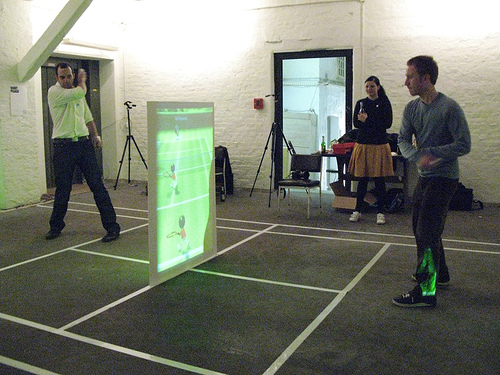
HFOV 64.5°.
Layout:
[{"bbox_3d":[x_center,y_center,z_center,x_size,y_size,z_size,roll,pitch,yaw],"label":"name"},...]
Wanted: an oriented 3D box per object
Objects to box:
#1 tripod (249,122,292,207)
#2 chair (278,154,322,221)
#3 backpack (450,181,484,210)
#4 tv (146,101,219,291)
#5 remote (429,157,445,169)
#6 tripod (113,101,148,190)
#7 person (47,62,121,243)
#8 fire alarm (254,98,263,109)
[{"bbox_3d":[0.412,-0.550,7.872,0.711,1.476,1.222,-3,10,-16],"label":"tripod"},{"bbox_3d":[0.838,-0.029,6.582,0.556,1.035,0.687,4,6,26],"label":"chair"},{"bbox_3d":[3.594,0.183,6.645,0.454,0.689,0.222,4,-1,5],"label":"backpack"},{"bbox_3d":[-0.667,0.026,4.076,0.165,1.767,1.049,5,11,32],"label":"tv"},{"bbox_3d":[1.549,-0.207,3.270,0.092,0.035,0.095,-21,-6,41],"label":"remote"},{"bbox_3d":[-2.770,-1.025,9.125,0.707,1.885,1.291,-3,10,-15],"label":"tripod"},{"bbox_3d":[-2.248,-0.468,5.226,0.986,2.279,0.488,1,9,9],"label":"person"},{"bbox_3d":[0.182,-1.748,8.288,0.181,0.219,0.077,1,10,7],"label":"fire alarm"}]
